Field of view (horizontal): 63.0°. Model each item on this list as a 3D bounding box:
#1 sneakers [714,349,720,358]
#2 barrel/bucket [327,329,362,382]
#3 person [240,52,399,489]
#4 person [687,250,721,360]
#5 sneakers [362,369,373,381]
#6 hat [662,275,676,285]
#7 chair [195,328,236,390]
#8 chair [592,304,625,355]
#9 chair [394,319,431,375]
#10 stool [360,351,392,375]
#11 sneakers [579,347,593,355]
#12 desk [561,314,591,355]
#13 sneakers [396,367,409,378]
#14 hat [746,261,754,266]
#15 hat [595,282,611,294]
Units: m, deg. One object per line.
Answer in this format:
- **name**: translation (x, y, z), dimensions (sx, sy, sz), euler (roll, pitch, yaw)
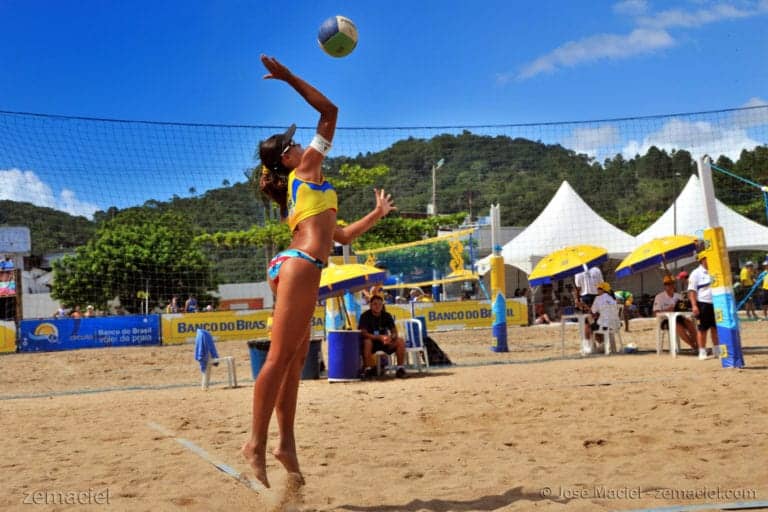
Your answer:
- **sneakers**: translation (5.087, 1.479, 9.553), dimensions (0.055, 0.146, 0.263), euler (-2, 2, 21)
- **barrel/bucket**: translation (-0.497, 1.525, 9.821), dimensions (0.651, 0.754, 0.653), euler (0, -3, 0)
- **person**: translation (-0.636, 0.131, 4.976), dimensions (1.078, 2.774, 0.960), euler (-2, 1, -9)
- **person**: translation (4.979, 0.751, 9.733), dimensions (0.368, 1.666, 1.012), euler (-2, 1, 19)
- **sneakers**: translation (-0.246, 1.866, 9.837), dimensions (0.122, 0.140, 0.126), euler (1, 0, -30)
- **hat**: translation (5.130, 0.437, 11.230), dimensions (0.247, 0.186, 0.364), euler (-4, -10, 21)
- **chair**: translation (-2.611, 1.596, 9.713), dimensions (0.642, 0.874, 0.695), euler (-8, -11, 30)
- **chair**: translation (4.275, 1.326, 11.852), dimensions (0.475, 0.957, 1.514), euler (-2, 2, 20)
- **chair**: translation (0.460, 1.473, 10.433), dimensions (0.492, 0.821, 0.606), euler (-8, 1, -11)
- **stool**: translation (-0.007, 1.736, 10.209), dimensions (0.363, 0.351, 0.452), euler (3, -8, -21)
- **sneakers**: translation (3.704, 1.720, 11.422), dimensions (0.109, 0.080, 0.177), euler (-7, -6, -42)
- **desk**: translation (3.660, 1.477, 11.795), dimensions (0.667, 0.731, 0.653), euler (0, -5, -9)
- **sneakers**: translation (0.270, 1.803, 9.722), dimensions (0.109, 0.160, 0.149), euler (-2, 11, 7)
- **hat**: translation (11.625, 0.243, 19.876), dimensions (0.258, 0.129, 0.380), euler (0, -3, 11)
- **hat**: translation (4.049, 0.580, 11.459), dimensions (0.296, 0.162, 0.214), euler (34, 7, 25)
